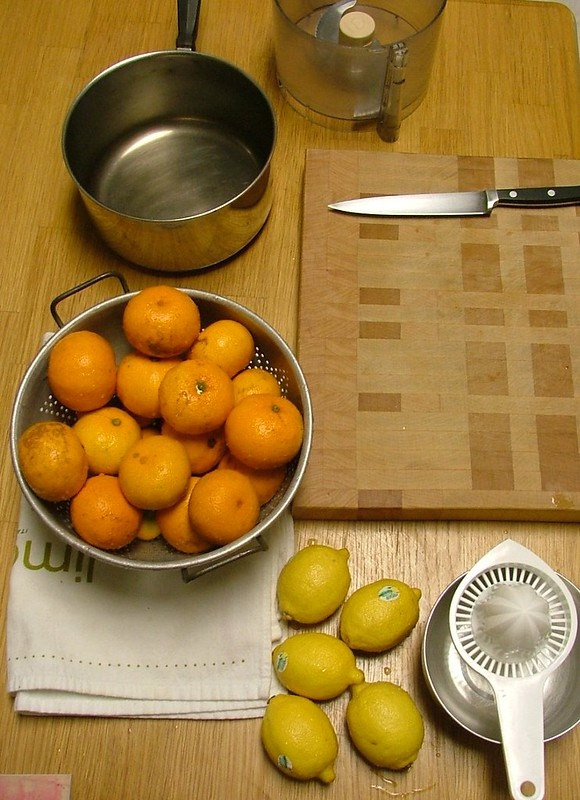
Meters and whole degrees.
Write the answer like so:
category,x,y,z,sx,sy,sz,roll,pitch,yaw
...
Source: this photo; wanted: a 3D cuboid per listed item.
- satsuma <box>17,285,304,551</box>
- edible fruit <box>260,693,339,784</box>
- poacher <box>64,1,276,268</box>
category,x,y,z,sx,sy,sz,roll,pitch,yaw
satsuma,-0.100,0.011,0.592,0.227,0.129,0.214,0,57,2
edible fruit,0.007,0.259,0.578,0.059,0.043,0.054,7,58,7
poacher,-0.125,-0.269,0.794,0.195,0.123,0.332,1,58,0
